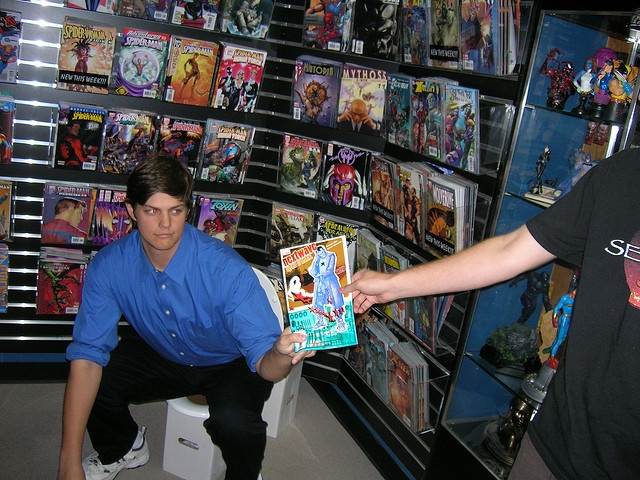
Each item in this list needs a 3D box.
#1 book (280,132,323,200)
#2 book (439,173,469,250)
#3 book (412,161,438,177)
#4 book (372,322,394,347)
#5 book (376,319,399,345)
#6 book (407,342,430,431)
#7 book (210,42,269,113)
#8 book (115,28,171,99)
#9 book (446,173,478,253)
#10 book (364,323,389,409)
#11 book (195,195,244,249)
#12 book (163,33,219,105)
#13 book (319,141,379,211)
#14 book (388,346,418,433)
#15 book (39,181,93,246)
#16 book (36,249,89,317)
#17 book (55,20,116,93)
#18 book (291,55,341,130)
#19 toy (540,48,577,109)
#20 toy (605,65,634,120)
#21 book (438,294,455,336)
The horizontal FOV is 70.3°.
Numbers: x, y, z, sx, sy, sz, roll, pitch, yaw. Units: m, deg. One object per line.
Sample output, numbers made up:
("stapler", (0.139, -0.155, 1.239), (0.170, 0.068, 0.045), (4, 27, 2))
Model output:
("book", (-0.112, -0.488, 2.922), (0.330, 0.399, 0.056), (20, 27, 24))
("book", (0.649, -0.105, 2.144), (0.077, 0.271, 0.192), (-2, 13, -7))
("book", (0.553, -0.371, 2.366), (0.087, 0.039, 0.113), (37, 23, 34))
("book", (0.365, 0.561, 2.703), (0.117, 0.036, 0.088), (40, 24, 13))
("book", (0.403, 0.550, 2.679), (0.071, 0.030, 0.097), (2, 40, -49))
("book", (0.550, 0.843, 2.467), (0.096, 0.331, 0.237), (-2, 7, -13))
("book", (-0.513, -0.997, 2.798), (0.315, 0.371, 0.115), (0, 14, -17))
("book", (-1.062, -1.040, 2.684), (0.307, 0.364, 0.134), (-2, 15, -23))
("book", (0.705, -0.133, 2.180), (0.085, 0.295, 0.212), (-1, 12, -5))
("book", (0.343, 0.751, 2.727), (0.104, 0.379, 0.268), (-8, 16, -20))
("book", (-0.655, -0.130, 2.874), (0.349, 0.477, 0.066), (-5, 34, -34))
("book", (-0.791, -1.041, 2.722), (0.332, 0.448, 0.245), (1, 32, -31))
("book", (0.191, -0.414, 2.797), (0.333, 0.408, 0.053), (18, 26, 16))
("book", (0.459, 0.833, 2.536), (0.108, 0.381, 0.271), (-8, 13, -20))
("book", (-1.571, -0.176, 2.767), (0.334, 0.462, 0.063), (8, 20, -26))
("book", (-1.597, 0.246, 2.780), (0.326, 0.411, 0.228), (5, 20, -28))
("book", (-1.350, -1.046, 2.601), (0.323, 0.369, 0.090), (-2, 15, -23))
("book", (-0.016, -0.911, 2.772), (0.357, 0.362, 0.143), (18, 31, 19))
("toy", (0.989, -0.671, 1.880), (0.129, 0.251, 0.109), (1, 14, -11))
("toy", (1.177, -0.580, 1.772), (0.092, 0.236, 0.195), (12, 16, 29))
("book", (0.637, 0.376, 2.290), (0.051, 0.207, 0.030), (18, 25, 12))
